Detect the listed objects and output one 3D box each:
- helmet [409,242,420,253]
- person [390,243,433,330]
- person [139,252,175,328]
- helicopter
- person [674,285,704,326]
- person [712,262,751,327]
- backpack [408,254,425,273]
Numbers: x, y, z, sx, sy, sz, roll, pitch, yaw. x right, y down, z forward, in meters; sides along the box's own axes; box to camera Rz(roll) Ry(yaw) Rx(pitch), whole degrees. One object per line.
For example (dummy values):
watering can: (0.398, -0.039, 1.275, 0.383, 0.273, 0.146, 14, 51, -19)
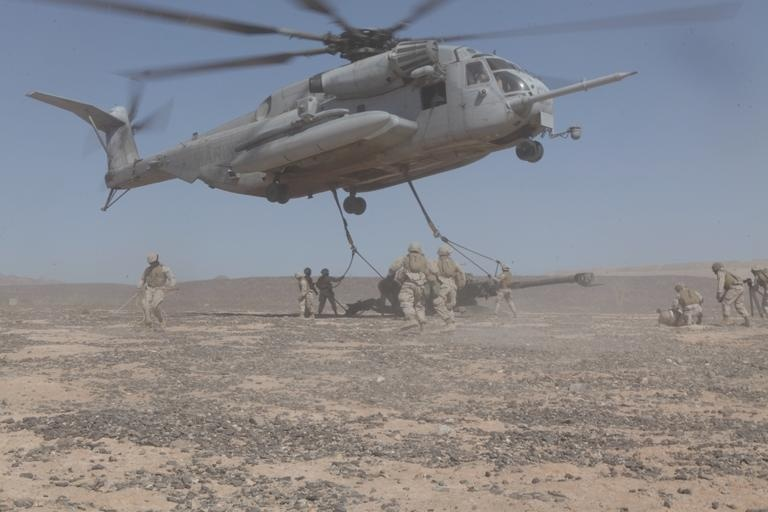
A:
helmet: (0.863, -0.222, 17.156, 0.334, 0.310, 0.388, 4, 12, 16)
person: (0.713, 0.783, 17.331, 0.950, 2.184, 0.808, -2, -4, 19)
person: (-5.931, 0.899, 16.567, 0.820, 1.850, 0.569, 0, -3, -14)
helicopter: (-1.090, -3.453, 16.412, 9.922, 2.480, 8.187, -1, 11, 28)
person: (8.187, 1.293, 17.020, 0.598, 1.082, 0.901, -2, -3, 23)
person: (9.242, 0.999, 16.882, 0.784, 1.644, 1.183, -2, -4, 26)
backpack: (0.842, 0.200, 16.966, 0.585, 0.433, 0.287, 3, -8, -22)
